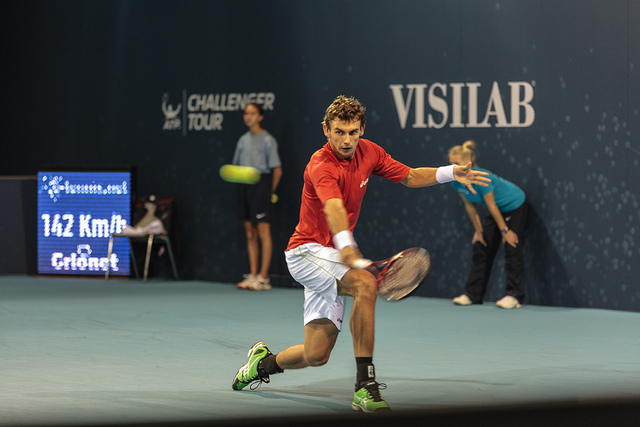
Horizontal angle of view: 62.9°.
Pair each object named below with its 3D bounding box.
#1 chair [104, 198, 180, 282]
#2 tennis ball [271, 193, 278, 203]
[{"bbox_3d":[-2.538,0.327,7.706,1.005,1.427,1.068,-4,-5,36],"label":"chair"},{"bbox_3d":[-0.637,-0.211,7.331,0.074,0.129,0.257,0,1,-2],"label":"tennis ball"}]
